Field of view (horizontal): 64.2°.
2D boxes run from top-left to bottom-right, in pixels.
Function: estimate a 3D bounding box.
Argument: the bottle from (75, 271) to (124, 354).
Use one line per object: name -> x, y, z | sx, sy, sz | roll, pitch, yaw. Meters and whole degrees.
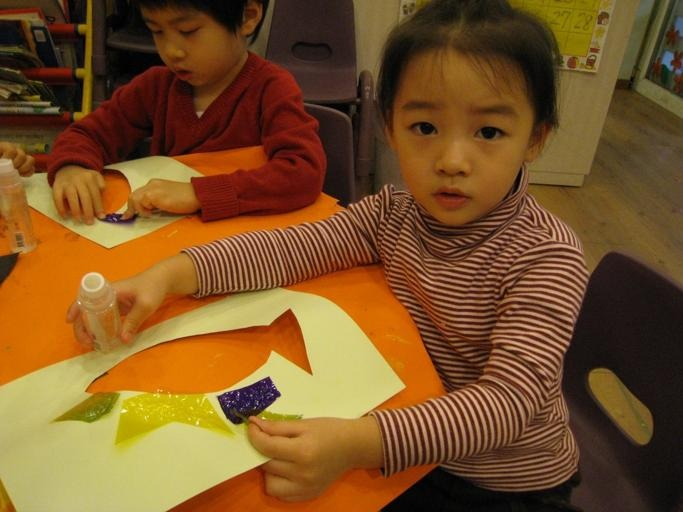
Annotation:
bottle -> -0.396, 0.088, 0.883 | 0.058, 0.120, 0.070 | -17, 38, -25
